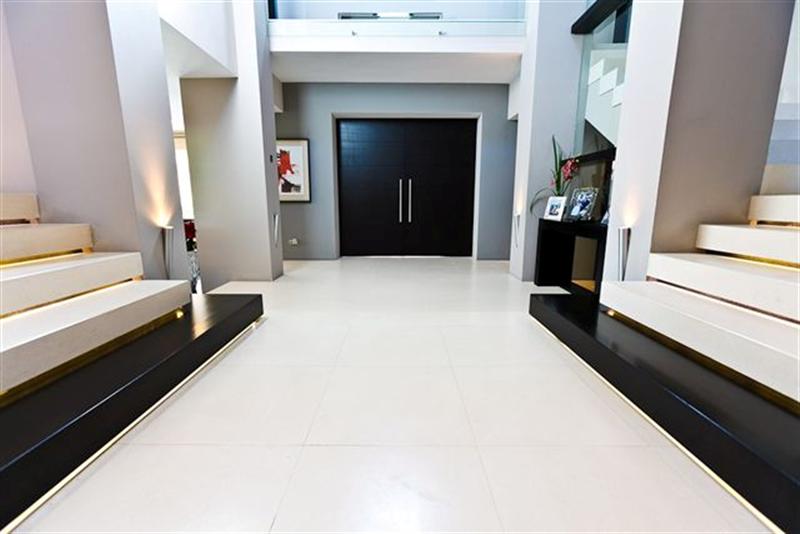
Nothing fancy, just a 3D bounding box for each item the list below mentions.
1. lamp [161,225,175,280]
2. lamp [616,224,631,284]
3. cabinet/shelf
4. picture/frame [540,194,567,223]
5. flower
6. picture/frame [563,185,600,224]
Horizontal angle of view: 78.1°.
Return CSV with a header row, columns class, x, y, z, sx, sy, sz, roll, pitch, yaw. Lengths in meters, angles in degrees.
class,x,y,z,sx,sy,sz,roll,pitch,yaw
lamp,-2.175,-0.133,4.582,0.095,0.501,0.096,-2,6,-35
lamp,2.046,-0.128,4.464,0.095,0.469,0.097,1,13,0
cabinet/shelf,2.046,-0.129,5.930,1.205,1.227,0.825,1,7,7
picture/frame,1.922,-0.723,6.066,0.026,0.401,0.390,12,3,-17
flower,2.057,-1.235,6.433,0.764,1.094,0.576,-11,27,-17
picture/frame,2.112,-0.734,5.752,0.422,0.380,0.361,11,16,39
